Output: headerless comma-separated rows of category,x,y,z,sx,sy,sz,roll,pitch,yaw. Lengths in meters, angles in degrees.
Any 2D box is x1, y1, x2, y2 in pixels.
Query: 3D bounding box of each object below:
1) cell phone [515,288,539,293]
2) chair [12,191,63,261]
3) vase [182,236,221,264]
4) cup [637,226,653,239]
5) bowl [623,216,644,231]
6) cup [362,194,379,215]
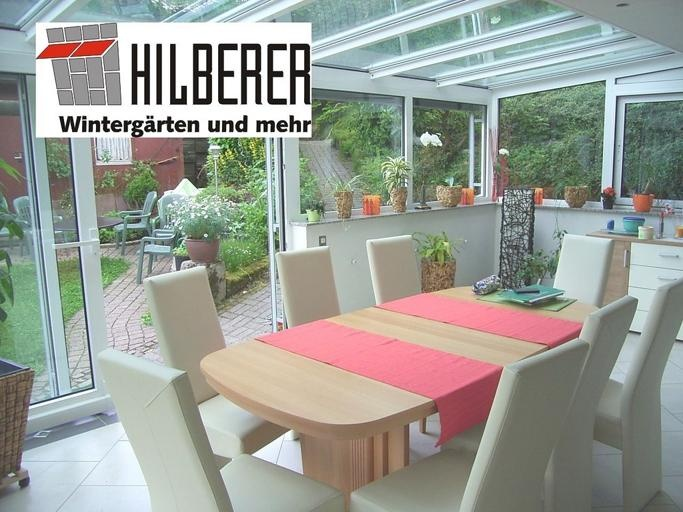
cell phone,1.363,0.245,3.521,0.073,0.018,0.072,-5,8,-14
chair,-2.318,-0.295,3.809,0.316,0.503,0.348,11,15,31
vase,-1.612,-0.090,5.775,0.327,0.241,0.314,0,4,3
cup,3.189,-0.253,5.049,0.136,0.125,0.140,-3,12,1
bowl,3.204,-0.375,5.271,0.171,0.122,0.172,-1,6,0
cup,0.336,-0.576,5.273,0.196,0.255,0.183,-1,15,0
